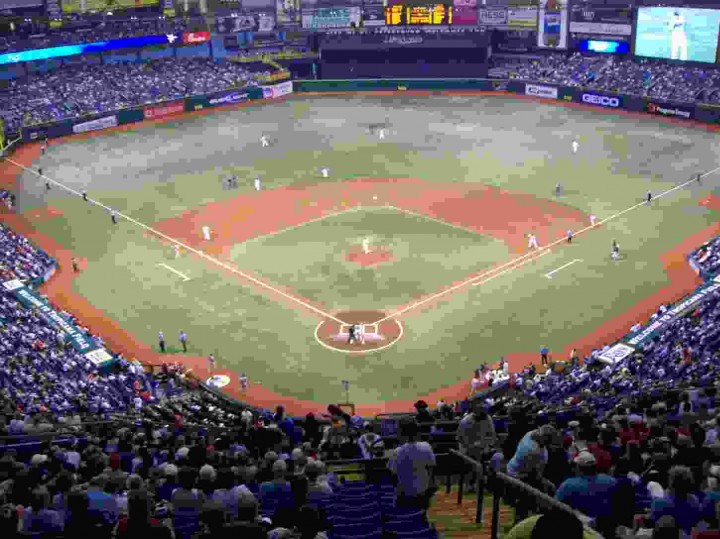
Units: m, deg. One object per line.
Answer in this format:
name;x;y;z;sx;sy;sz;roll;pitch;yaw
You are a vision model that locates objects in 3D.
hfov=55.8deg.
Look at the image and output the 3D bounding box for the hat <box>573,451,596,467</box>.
hat;4.350;3.653;13.162;0.342;0.251;0.286;-2;18;2
